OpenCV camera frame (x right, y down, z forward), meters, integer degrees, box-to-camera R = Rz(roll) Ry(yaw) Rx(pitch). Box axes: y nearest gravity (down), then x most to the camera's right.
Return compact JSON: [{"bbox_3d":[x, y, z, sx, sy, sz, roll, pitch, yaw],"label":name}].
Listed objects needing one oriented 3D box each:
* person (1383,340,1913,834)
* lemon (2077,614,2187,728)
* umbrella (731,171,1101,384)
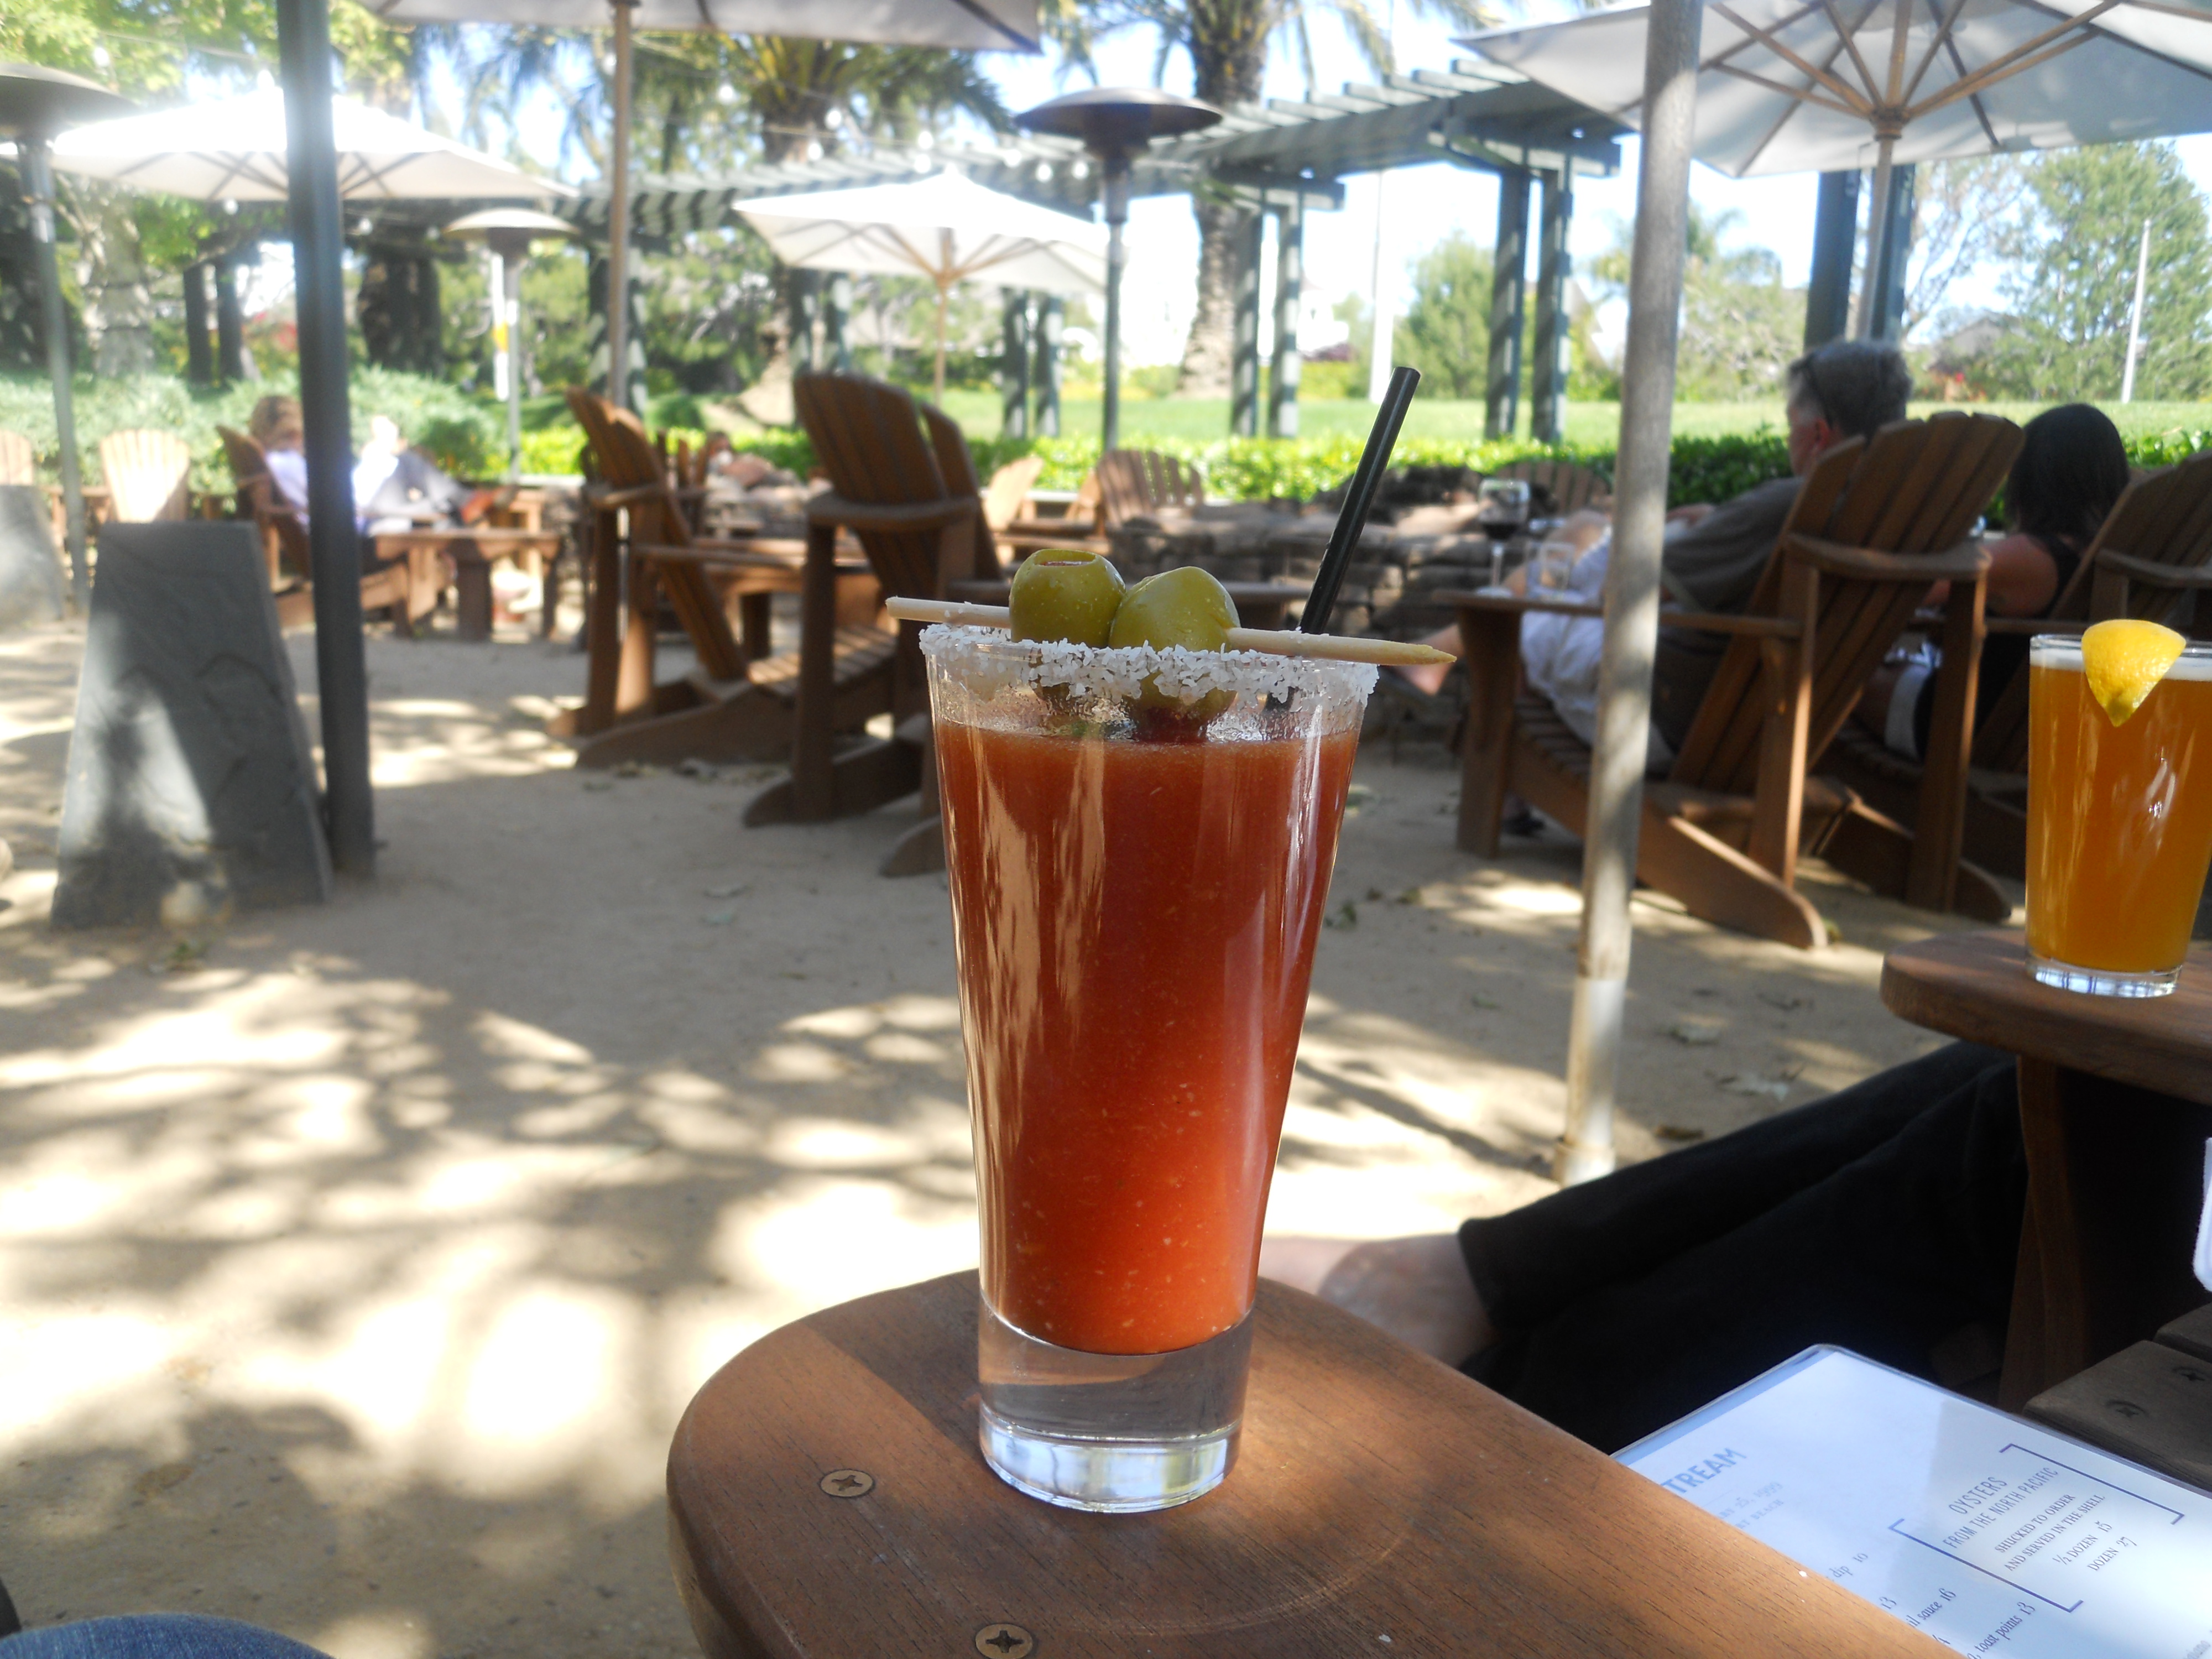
[{"bbox_3d":[1.605,-0.852,5.440,1.064,1.478,1.511,-8,16,-31],"label":"person"},{"bbox_3d":[0.905,-0.138,1.566,0.078,0.076,0.087,2,-4,23],"label":"lemon"},{"bbox_3d":[-1.186,-3.853,11.628,2.025,1.458,1.888,-4,22,-38],"label":"umbrella"}]
